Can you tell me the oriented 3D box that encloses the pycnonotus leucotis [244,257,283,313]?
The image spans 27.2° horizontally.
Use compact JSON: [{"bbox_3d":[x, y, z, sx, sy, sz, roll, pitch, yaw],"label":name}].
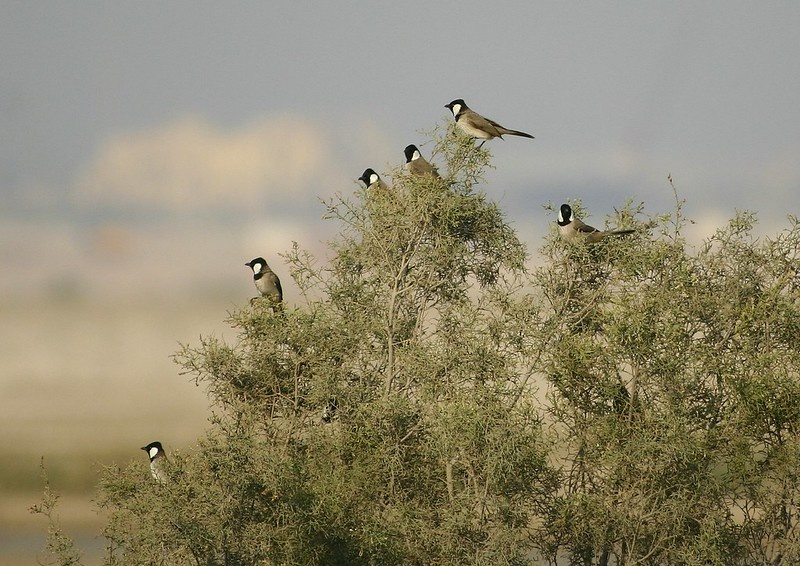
[{"bbox_3d":[-1.918,-0.050,24.540,0.365,0.809,0.806,23,24,40],"label":"pycnonotus leucotis"}]
